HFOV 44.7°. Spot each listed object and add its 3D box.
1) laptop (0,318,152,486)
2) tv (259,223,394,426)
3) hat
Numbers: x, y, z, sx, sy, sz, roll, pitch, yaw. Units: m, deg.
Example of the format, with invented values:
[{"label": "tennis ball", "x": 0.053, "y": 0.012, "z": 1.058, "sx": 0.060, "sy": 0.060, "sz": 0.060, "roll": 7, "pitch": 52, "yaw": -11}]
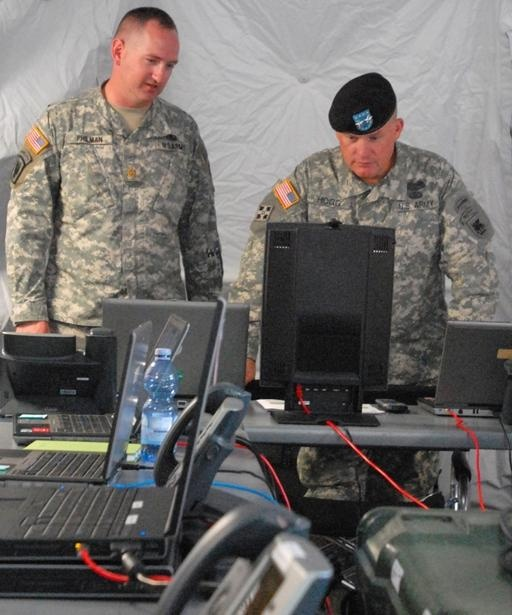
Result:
[{"label": "laptop", "x": -0.264, "y": 0.148, "z": 1.031, "sx": 0.290, "sy": 0.199, "sz": 0.245, "roll": 1, "pitch": 2, "yaw": 3}, {"label": "tv", "x": 0.174, "y": 0.033, "z": 1.571, "sx": 0.329, "sy": 0.494, "sz": 0.181, "roll": 3, "pitch": 4, "yaw": 8}, {"label": "hat", "x": 0.394, "y": -0.753, "z": 2.280, "sx": 0.239, "sy": 0.261, "sz": 0.177, "roll": 2, "pitch": 4, "yaw": 3}]
